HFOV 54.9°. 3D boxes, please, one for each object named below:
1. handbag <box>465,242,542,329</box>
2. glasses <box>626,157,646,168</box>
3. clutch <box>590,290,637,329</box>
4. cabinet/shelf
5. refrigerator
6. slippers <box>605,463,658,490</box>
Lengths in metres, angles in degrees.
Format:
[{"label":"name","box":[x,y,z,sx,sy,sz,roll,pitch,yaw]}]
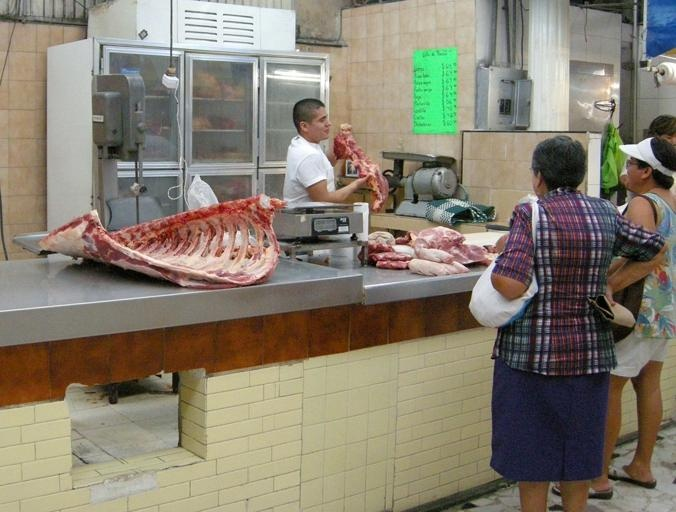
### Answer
[{"label":"handbag","box":[0.613,0.183,2.590,0.117,0.283,0.244,-15,-12,-22]},{"label":"glasses","box":[1.526,-0.469,3.319,0.055,0.057,0.017,3,52,43]},{"label":"clutch","box":[1.115,0.221,2.633,0.222,0.059,0.065,17,39,-14]},{"label":"cabinet/shelf","box":[-1.295,-0.826,6.026,0.758,2.070,2.333,10,14,43]},{"label":"refrigerator","box":[-1.320,-0.793,6.044,0.801,2.112,2.392,9,13,41]},{"label":"slippers","box":[1.622,1.235,3.625,0.105,0.079,0.264,-3,10,-44]}]
